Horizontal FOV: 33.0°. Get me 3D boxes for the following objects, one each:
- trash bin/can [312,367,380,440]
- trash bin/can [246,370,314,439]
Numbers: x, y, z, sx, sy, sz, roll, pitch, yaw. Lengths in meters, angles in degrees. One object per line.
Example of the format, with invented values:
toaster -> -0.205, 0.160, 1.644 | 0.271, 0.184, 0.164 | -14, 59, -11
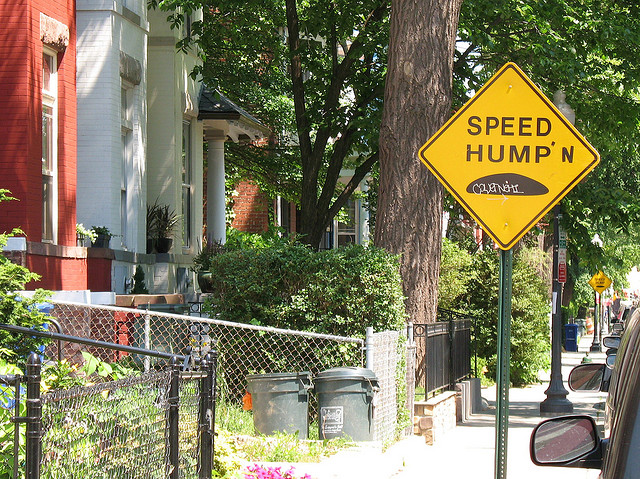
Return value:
trash bin/can -> 0.416, 2.208, 14.947 | 0.850, 1.263, 0.966 | 2, 14, 8
trash bin/can -> -0.578, 2.325, 14.936 | 0.795, 0.857, 0.840 | 1, -12, -3
